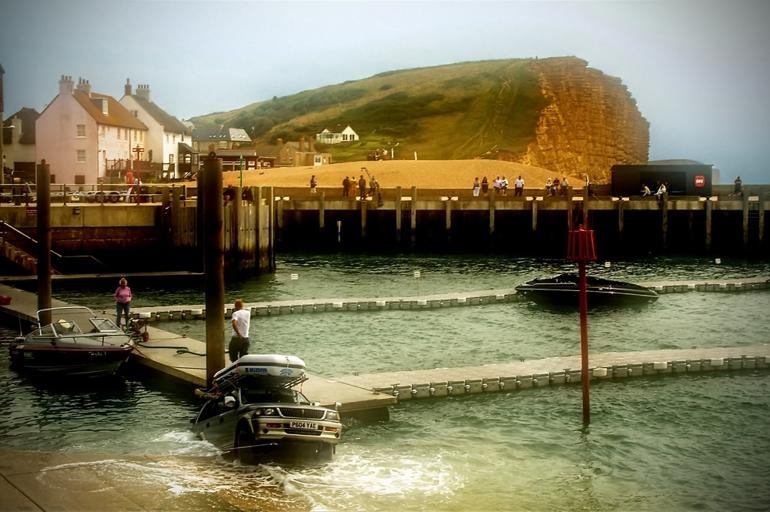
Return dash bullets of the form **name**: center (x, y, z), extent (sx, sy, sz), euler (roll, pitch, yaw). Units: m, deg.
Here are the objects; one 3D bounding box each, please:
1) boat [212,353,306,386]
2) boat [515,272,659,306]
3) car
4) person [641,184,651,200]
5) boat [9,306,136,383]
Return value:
- **boat**: center (-3.902, 3.502, 28.373), extent (2.218, 0.489, 1.203), euler (0, 0, 34)
- **boat**: center (10.170, 1.748, 46.100), extent (7.928, 1.558, 2.178), euler (2, 24, 3)
- **car**: center (-3.809, 5.364, 28.237), extent (2.253, 1.497, 3.846), euler (5, -12, -36)
- **person**: center (20.613, -5.236, 71.609), extent (0.782, 1.006, 1.658), euler (1, 0, 11)
- **boat**: center (-11.745, 3.283, 34.012), extent (4.295, 2.347, 2.887), euler (1, 0, 37)
